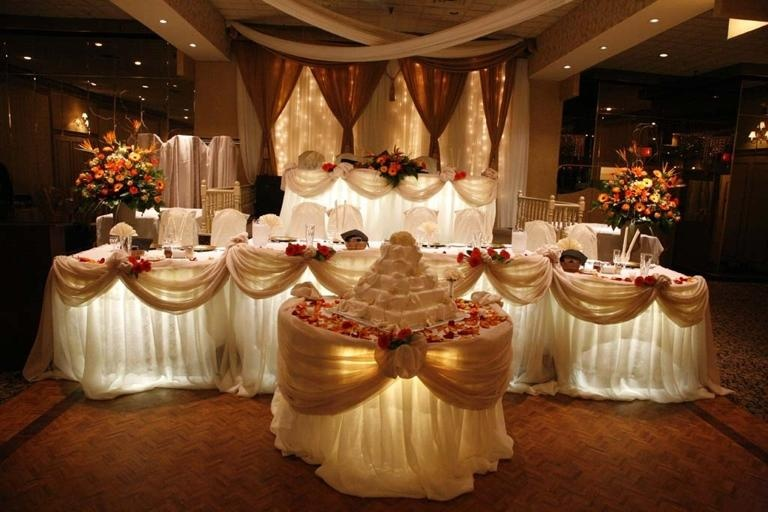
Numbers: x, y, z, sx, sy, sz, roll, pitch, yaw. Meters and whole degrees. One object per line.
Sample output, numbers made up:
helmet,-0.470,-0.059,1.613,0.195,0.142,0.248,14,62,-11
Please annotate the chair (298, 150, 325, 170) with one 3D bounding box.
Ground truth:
chair,-1.028,-1.360,7.211,0.330,0.255,0.349,-2,18,-9

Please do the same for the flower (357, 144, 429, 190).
flower,0.207,-1.215,6.951,0.730,0.474,0.754,-3,9,-23

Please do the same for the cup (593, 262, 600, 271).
cup,2.515,0.124,6.053,0.071,0.081,0.137,-4,9,20
